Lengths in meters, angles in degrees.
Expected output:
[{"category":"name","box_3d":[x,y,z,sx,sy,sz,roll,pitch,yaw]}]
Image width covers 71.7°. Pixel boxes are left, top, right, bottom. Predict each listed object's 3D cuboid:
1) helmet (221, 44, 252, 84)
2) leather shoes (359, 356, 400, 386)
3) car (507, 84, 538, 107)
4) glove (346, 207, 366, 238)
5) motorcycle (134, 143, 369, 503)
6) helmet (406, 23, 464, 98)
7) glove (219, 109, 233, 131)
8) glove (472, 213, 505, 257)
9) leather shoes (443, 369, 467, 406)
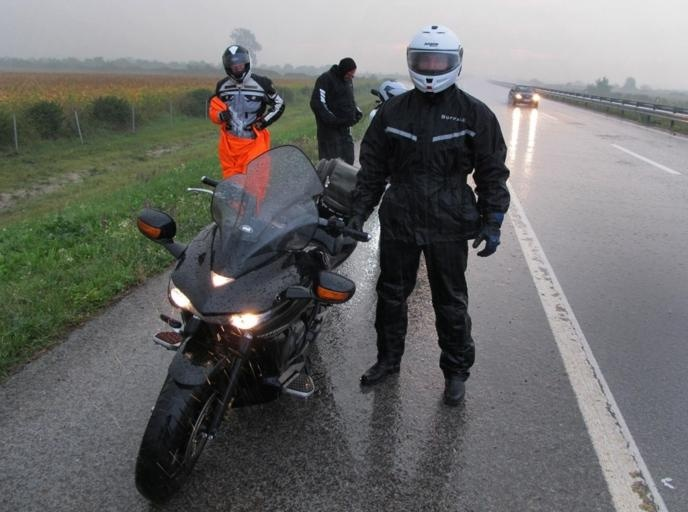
[{"category":"helmet","box_3d":[-1.384,-2.494,6.203,0.334,0.461,0.282,-2,23,-13]},{"category":"leather shoes","box_3d":[0.299,0.942,3.980,0.393,0.179,0.150,-25,38,-22]},{"category":"car","box_3d":[11.999,-10.559,32.025,1.491,1.238,2.866,3,24,12]},{"category":"glove","box_3d":[0.089,-0.245,3.541,0.071,0.207,0.205,12,62,-4]},{"category":"motorcycle","box_3d":[-0.612,0.282,3.224,1.708,1.932,1.165,-8,25,-26]},{"category":"helmet","box_3d":[0.682,-1.481,3.588,0.402,0.449,0.519,5,22,12]},{"category":"glove","box_3d":[-1.550,-1.804,6.342,0.084,0.243,0.182,0,23,29]},{"category":"glove","box_3d":[1.074,-0.159,3.504,0.114,0.373,0.274,26,7,15]},{"category":"leather shoes","box_3d":[0.865,1.017,3.716,0.112,0.140,0.311,-1,17,14]}]
